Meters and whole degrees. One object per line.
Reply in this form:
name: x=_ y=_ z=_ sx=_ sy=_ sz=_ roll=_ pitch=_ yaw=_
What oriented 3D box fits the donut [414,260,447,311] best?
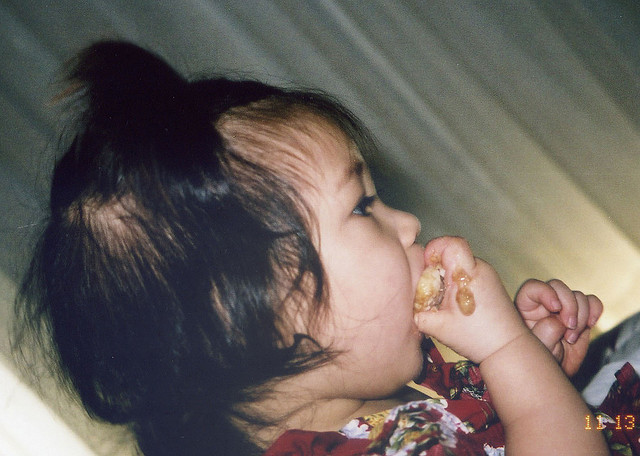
donut: x=0.189 y=0.101 z=1.189 sx=0.043 sy=0.027 sz=0.083 roll=20 pitch=76 yaw=-20
